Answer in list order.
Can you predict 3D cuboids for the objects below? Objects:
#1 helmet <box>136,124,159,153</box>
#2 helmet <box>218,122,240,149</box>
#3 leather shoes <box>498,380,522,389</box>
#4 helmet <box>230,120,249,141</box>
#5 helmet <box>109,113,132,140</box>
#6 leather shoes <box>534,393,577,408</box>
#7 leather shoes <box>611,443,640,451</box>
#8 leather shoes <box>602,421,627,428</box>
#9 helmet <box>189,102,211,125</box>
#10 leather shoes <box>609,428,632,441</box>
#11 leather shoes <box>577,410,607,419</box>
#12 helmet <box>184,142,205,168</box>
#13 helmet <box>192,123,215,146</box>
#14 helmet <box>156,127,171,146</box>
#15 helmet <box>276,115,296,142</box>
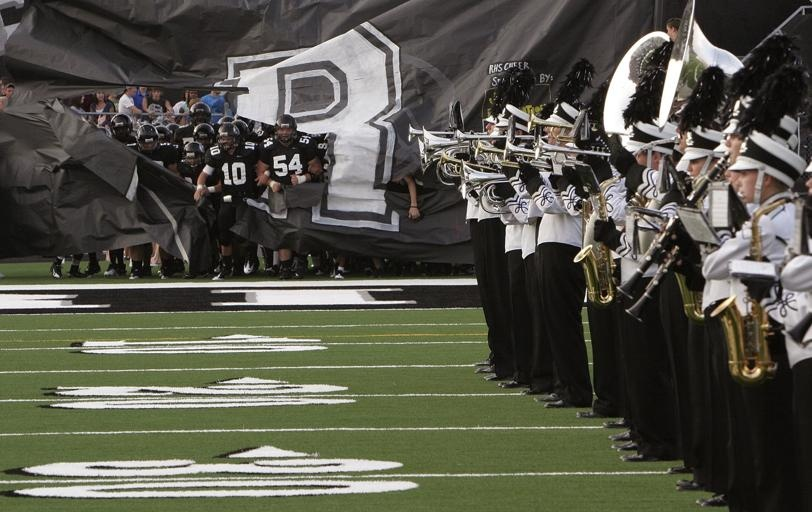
[{"bbox_3d":[-3.542,-1.594,24.537,0.339,0.343,0.358,-2,-23,-12],"label":"helmet"},{"bbox_3d":[-2.342,-1.579,23.786,0.323,0.278,0.359,0,16,4],"label":"helmet"},{"bbox_3d":[1.027,1.256,17.482,0.235,0.073,0.075,2,-5,0],"label":"leather shoes"},{"bbox_3d":[-2.206,-1.707,24.156,0.271,0.272,0.300,-10,17,6],"label":"helmet"},{"bbox_3d":[-3.879,-1.763,24.551,0.347,0.325,0.366,-2,-2,-2],"label":"helmet"},{"bbox_3d":[1.413,1.373,16.849,0.401,0.135,0.122,5,-9,10],"label":"leather shoes"},{"bbox_3d":[1.944,1.680,15.744,0.218,0.065,0.069,2,-2,27],"label":"leather shoes"},{"bbox_3d":[1.915,1.528,16.257,0.162,0.046,0.076,3,-4,0],"label":"leather shoes"},{"bbox_3d":[-2.831,-1.960,24.752,0.300,0.273,0.323,0,-3,-7],"label":"helmet"},{"bbox_3d":[1.935,1.615,15.988,0.260,0.080,0.076,1,0,5],"label":"leather shoes"},{"bbox_3d":[1.710,1.459,16.510,0.276,0.087,0.084,-3,0,14],"label":"leather shoes"},{"bbox_3d":[-2.859,-1.379,24.419,0.297,0.265,0.337,0,31,-2],"label":"helmet"},{"bbox_3d":[-2.729,-1.658,24.452,0.317,0.282,0.315,2,-4,-4],"label":"helmet"},{"bbox_3d":[-3.343,-1.665,24.775,0.232,0.220,0.250,1,-4,-10],"label":"helmet"},{"bbox_3d":[-1.557,-1.692,23.771,0.282,0.376,0.239,1,-1,-15],"label":"helmet"}]
